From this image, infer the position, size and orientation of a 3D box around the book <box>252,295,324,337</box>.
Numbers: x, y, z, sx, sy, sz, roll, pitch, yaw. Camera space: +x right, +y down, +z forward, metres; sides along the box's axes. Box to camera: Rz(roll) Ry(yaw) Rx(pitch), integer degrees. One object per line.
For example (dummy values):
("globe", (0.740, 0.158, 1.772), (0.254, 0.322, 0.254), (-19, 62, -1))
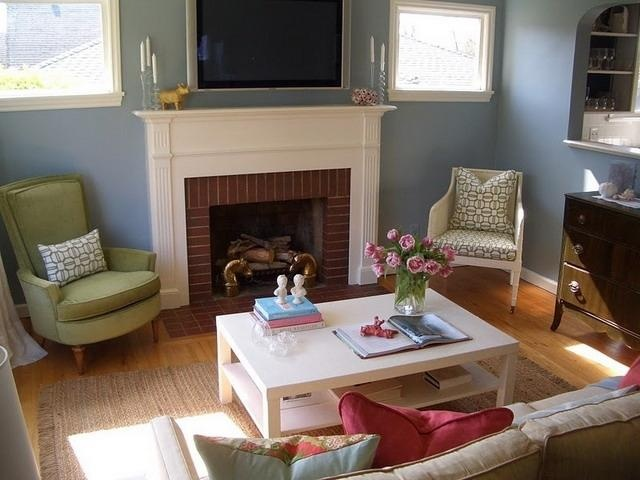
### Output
("book", (-0.179, 0.409, 2.719), (0.228, 0.058, 0.229), (-7, 19, -24))

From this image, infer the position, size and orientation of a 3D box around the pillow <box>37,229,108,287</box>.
("pillow", (-1.736, 0.131, 3.431), (0.115, 0.251, 0.327), (1, 16, 36))

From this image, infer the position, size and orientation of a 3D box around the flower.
("flower", (0.568, 0.190, 2.920), (0.394, 0.370, 0.397), (9, 4, -10))

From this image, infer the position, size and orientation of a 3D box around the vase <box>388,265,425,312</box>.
("vase", (0.524, 0.284, 2.941), (0.171, 0.287, 0.188), (16, 16, 30))

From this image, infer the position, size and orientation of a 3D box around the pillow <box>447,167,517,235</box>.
("pillow", (1.405, -0.316, 4.290), (0.446, 0.461, 0.244), (10, -21, 21))
